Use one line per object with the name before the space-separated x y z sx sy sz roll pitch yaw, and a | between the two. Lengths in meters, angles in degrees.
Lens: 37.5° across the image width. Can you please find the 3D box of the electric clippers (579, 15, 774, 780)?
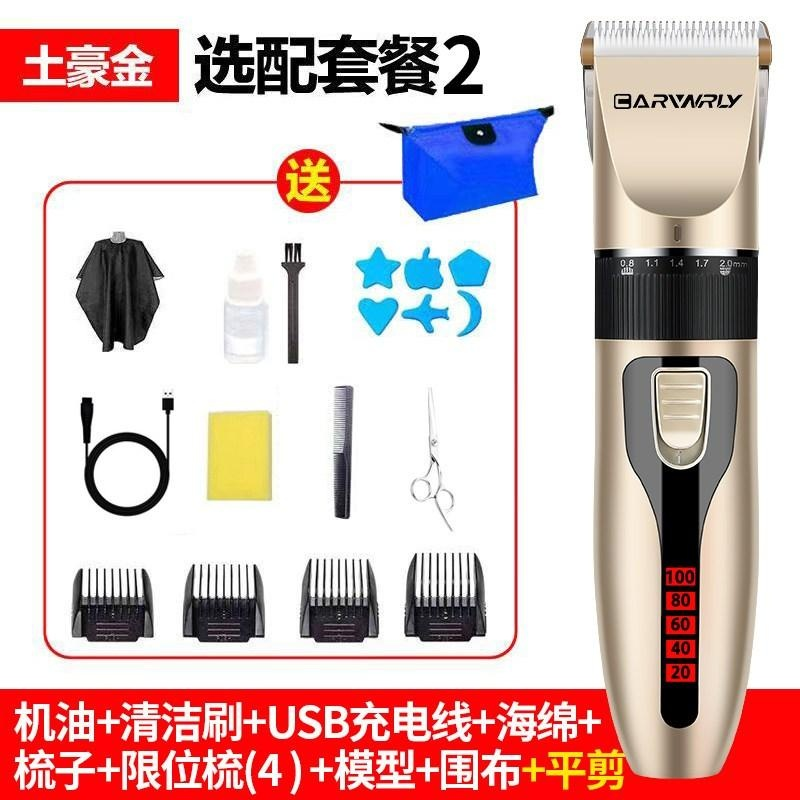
electric clippers | 0.713 -0.036 2.845 0.340 1.751 0.401 0 11 16

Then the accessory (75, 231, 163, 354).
accessory | -0.812 -0.316 3.388 0.258 0.342 0.085 -3 -3 14

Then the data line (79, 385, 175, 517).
data line | -0.787 0.164 3.427 0.282 0.355 0.064 -3 -3 8

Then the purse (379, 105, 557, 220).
purse | 0.206 -0.683 3.314 0.487 0.314 0.151 -3 -3 -1

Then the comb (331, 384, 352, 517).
comb | -0.161 0.153 3.381 0.060 0.373 0.043 -1 -3 -4

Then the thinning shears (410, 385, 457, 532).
thinning shears | 0.092 0.175 3.388 0.127 0.415 0.055 -1 -3 -5

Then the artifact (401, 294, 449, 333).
artifact | 0.075 -0.247 3.373 0.133 0.109 0.020 -2 -3 -10
